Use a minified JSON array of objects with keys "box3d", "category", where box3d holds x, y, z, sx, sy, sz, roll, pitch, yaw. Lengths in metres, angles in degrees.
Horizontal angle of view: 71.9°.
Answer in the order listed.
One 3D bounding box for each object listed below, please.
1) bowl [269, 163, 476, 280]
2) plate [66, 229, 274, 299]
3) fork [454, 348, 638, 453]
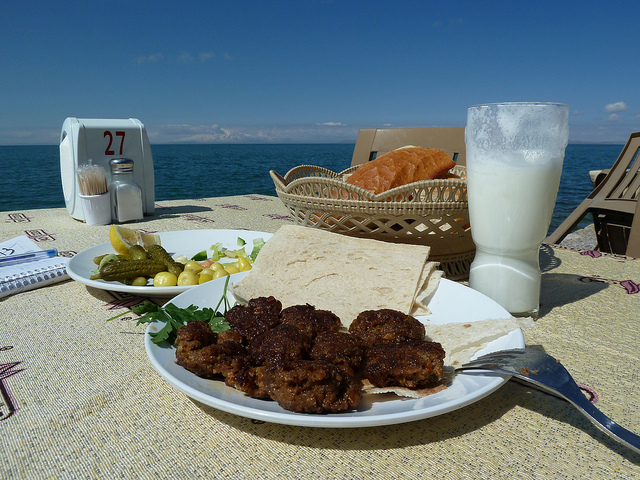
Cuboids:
[{"box3d":[0.328,-0.047,1.799,0.683,0.191,0.638,1,8,0],"category":"bowl"},{"box3d":[-0.724,0.038,1.926,0.495,0.051,0.445,7,13,22],"category":"plate"},{"box3d":[0.458,0.308,1.198,0.113,0.077,0.788,10,5,-14],"category":"fork"}]
